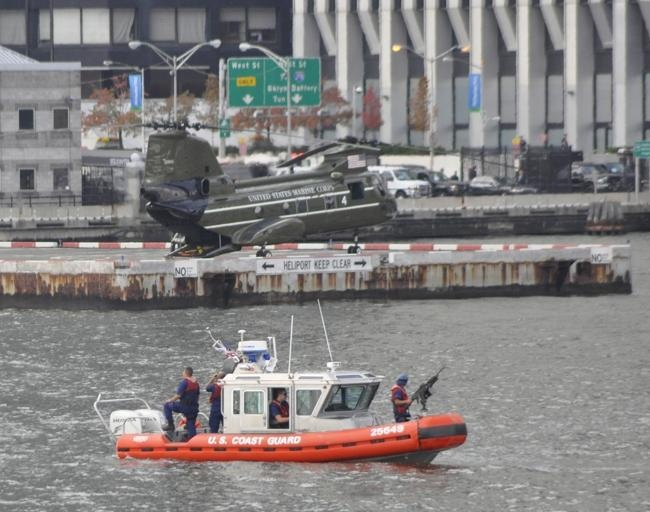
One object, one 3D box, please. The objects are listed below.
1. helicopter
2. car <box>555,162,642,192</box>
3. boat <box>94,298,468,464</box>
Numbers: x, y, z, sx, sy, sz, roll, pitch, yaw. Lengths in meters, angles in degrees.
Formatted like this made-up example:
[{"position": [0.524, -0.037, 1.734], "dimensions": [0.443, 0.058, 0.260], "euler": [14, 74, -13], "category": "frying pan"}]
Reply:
[{"position": [-3.225, -3.652, 103.225], "dimensions": [12.744, 6.292, 5.390], "euler": [-9, 7, -21], "category": "helicopter"}, {"position": [18.134, -5.323, 134.244], "dimensions": [4.891, 2.016, 3.813], "euler": [-1, 1, 7], "category": "car"}, {"position": [-1.876, 6.105, 86.674], "dimensions": [14.130, 5.853, 2.592], "euler": [-1, 2, 3], "category": "boat"}]
